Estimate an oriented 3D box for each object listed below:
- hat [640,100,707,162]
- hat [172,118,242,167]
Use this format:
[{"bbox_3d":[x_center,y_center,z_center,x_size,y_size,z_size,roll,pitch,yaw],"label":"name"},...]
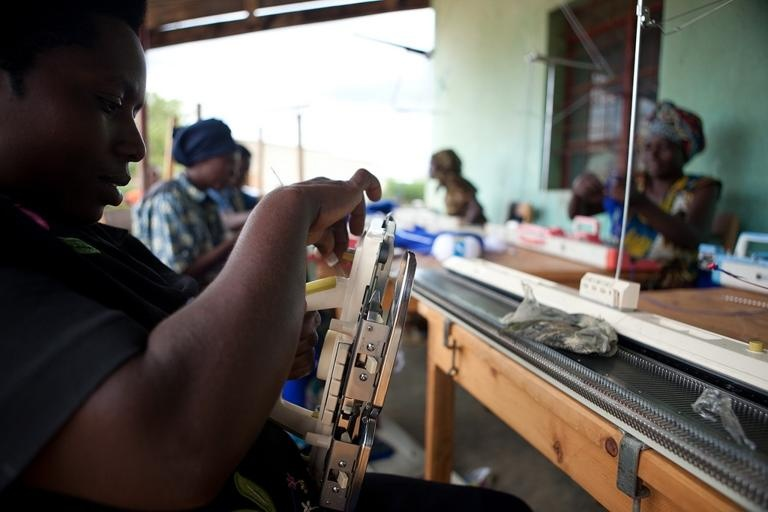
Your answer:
[{"bbox_3d":[0.751,-0.320,1.477,0.152,0.146,0.057,-3,13,-4],"label":"hat"},{"bbox_3d":[-0.805,-0.532,2.672,0.293,0.200,0.218,-7,43,-16],"label":"hat"}]
